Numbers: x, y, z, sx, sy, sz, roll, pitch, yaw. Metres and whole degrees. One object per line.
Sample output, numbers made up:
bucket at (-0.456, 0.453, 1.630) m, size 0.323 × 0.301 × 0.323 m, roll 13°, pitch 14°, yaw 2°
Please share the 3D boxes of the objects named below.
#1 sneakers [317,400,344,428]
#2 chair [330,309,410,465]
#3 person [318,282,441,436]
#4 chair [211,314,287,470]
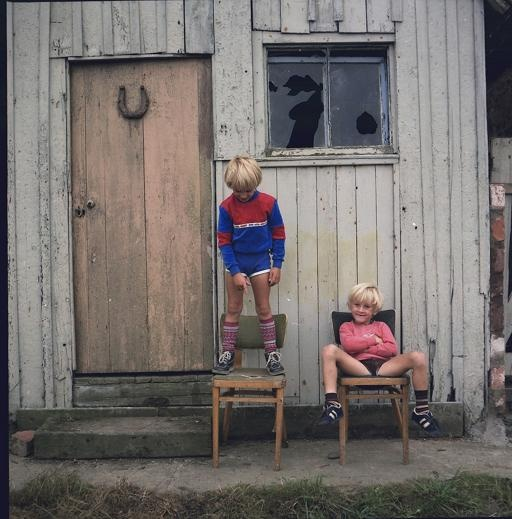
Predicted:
sneakers at (0.467, 0.936, 5.768) m, size 0.134 × 0.128 × 0.253 m, roll -2°, pitch 0°, yaw 10°
chair at (0.762, 0.841, 6.093) m, size 0.443 × 0.920 × 0.559 m, roll 1°, pitch -2°, yaw -1°
person at (0.680, 0.593, 5.932) m, size 0.684 × 1.103 × 0.860 m, roll 3°, pitch -13°, yaw -12°
chair at (-0.034, 0.848, 6.054) m, size 0.429 × 0.908 × 0.544 m, roll 2°, pitch -1°, yaw 9°
